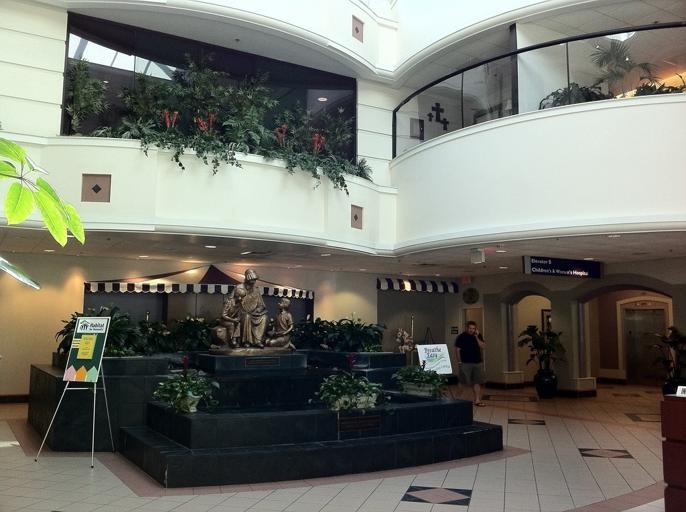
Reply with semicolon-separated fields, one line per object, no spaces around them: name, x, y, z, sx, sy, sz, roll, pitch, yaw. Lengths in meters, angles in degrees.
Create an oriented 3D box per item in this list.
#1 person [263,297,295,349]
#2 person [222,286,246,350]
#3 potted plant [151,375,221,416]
person;-1.570;1.623;13.394;0.915;1.193;0.848;2;-5;19
person;-2.501;1.384;12.844;0.441;1.422;0.421;0;-6;8
potted plant;-2.397;2.129;8.784;0.712;0.467;0.763;3;-12;-23
